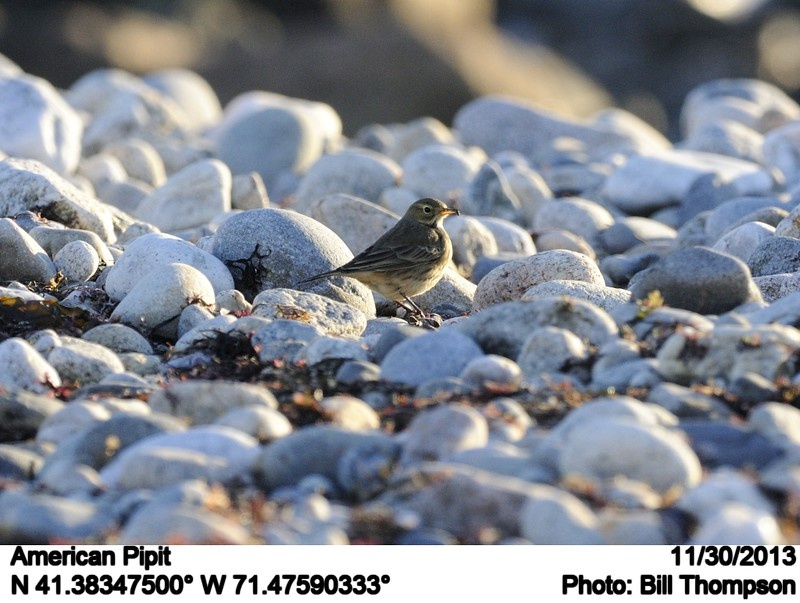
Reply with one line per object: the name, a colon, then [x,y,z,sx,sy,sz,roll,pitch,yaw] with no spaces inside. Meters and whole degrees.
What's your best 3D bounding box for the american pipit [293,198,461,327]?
american pipit: [-0.028,-0.269,9.740,0.802,0.621,1.182,2,33,19]
